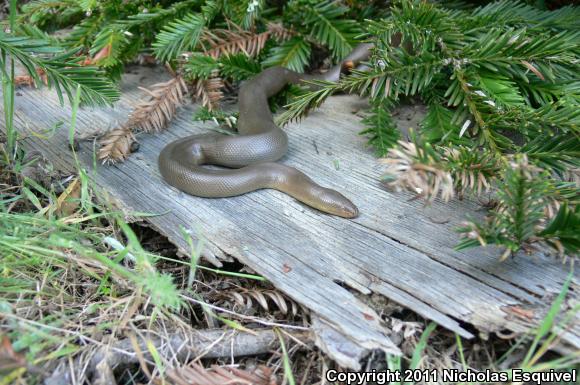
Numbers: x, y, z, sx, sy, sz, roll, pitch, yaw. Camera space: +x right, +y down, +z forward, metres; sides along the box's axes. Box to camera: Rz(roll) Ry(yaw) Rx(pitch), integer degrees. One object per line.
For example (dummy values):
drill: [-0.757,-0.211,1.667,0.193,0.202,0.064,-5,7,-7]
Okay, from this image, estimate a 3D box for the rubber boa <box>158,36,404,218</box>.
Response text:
rubber boa: [-0.103,-0.389,3.326,1.570,0.332,1.381,-11,39,-26]
